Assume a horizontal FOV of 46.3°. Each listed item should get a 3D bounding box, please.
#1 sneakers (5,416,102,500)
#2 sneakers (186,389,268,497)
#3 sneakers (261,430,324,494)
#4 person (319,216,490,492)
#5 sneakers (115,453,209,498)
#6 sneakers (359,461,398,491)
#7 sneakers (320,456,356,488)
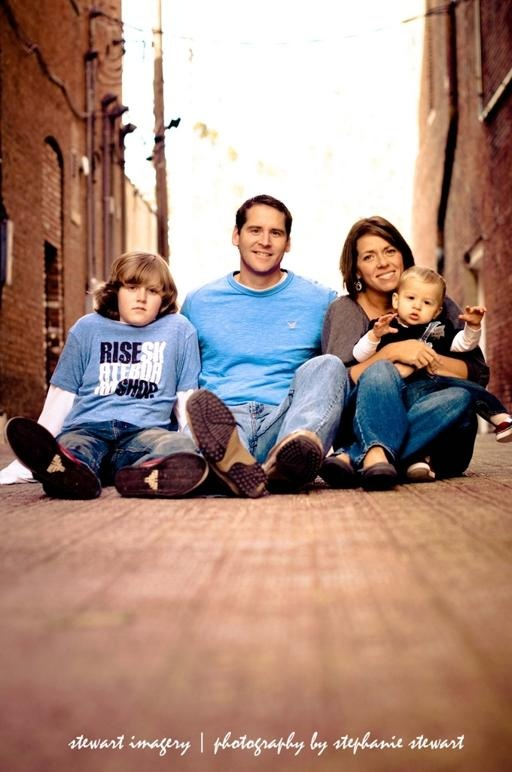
[{"bbox_3d":[-0.560,0.184,1.712,0.116,0.336,0.138,-51,29,-21],"label":"sneakers"},{"bbox_3d":[-0.069,0.183,1.767,0.137,0.376,0.171,-37,17,-27],"label":"sneakers"},{"bbox_3d":[0.110,0.224,1.793,0.108,0.257,0.109,32,45,-7],"label":"sneakers"},{"bbox_3d":[0.540,-0.151,2.089,0.614,0.984,0.834,0,5,5],"label":"person"},{"bbox_3d":[-0.273,0.269,1.786,0.265,0.118,0.104,-1,4,3],"label":"sneakers"},{"bbox_3d":[0.363,0.273,1.789,0.102,0.092,0.129,1,5,9],"label":"sneakers"},{"bbox_3d":[0.260,0.278,1.896,0.114,0.119,0.128,1,5,8],"label":"sneakers"}]
